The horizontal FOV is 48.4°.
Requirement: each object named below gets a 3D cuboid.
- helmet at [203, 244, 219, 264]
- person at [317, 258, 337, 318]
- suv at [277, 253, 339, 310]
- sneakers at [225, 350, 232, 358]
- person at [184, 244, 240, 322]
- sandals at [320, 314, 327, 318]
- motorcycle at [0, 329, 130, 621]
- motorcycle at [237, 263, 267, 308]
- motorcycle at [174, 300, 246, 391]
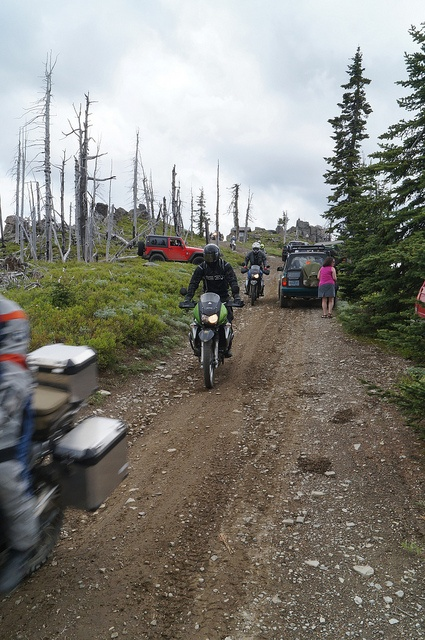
[{"bbox_3d":[0.000,-1.037,7.397,0.230,0.268,0.277,-2,13,5],"label":"helmet"},{"bbox_3d":[2.863,-0.822,11.721,0.433,1.492,0.918,-3,10,13],"label":"person"},{"bbox_3d":[2.531,-1.292,13.994,1.044,0.901,1.783,0,23,7],"label":"suv"},{"bbox_3d":[0.245,0.522,7.303,0.111,0.152,0.345,-3,-7,3],"label":"sneakers"},{"bbox_3d":[0.062,-0.508,7.602,0.767,1.439,0.770,-1,11,14],"label":"person"},{"bbox_3d":[2.771,-0.096,11.760,0.085,0.109,0.271,-1,0,4],"label":"sandals"},{"bbox_3d":[-0.896,0.765,2.978,0.679,0.974,1.458,0,23,12],"label":"motorcycle"},{"bbox_3d":[1.279,-1.213,14.961,0.601,0.908,1.486,0,9,5],"label":"motorcycle"},{"bbox_3d":[-0.017,0.279,6.963,0.684,1.329,0.900,3,13,42],"label":"motorcycle"}]
